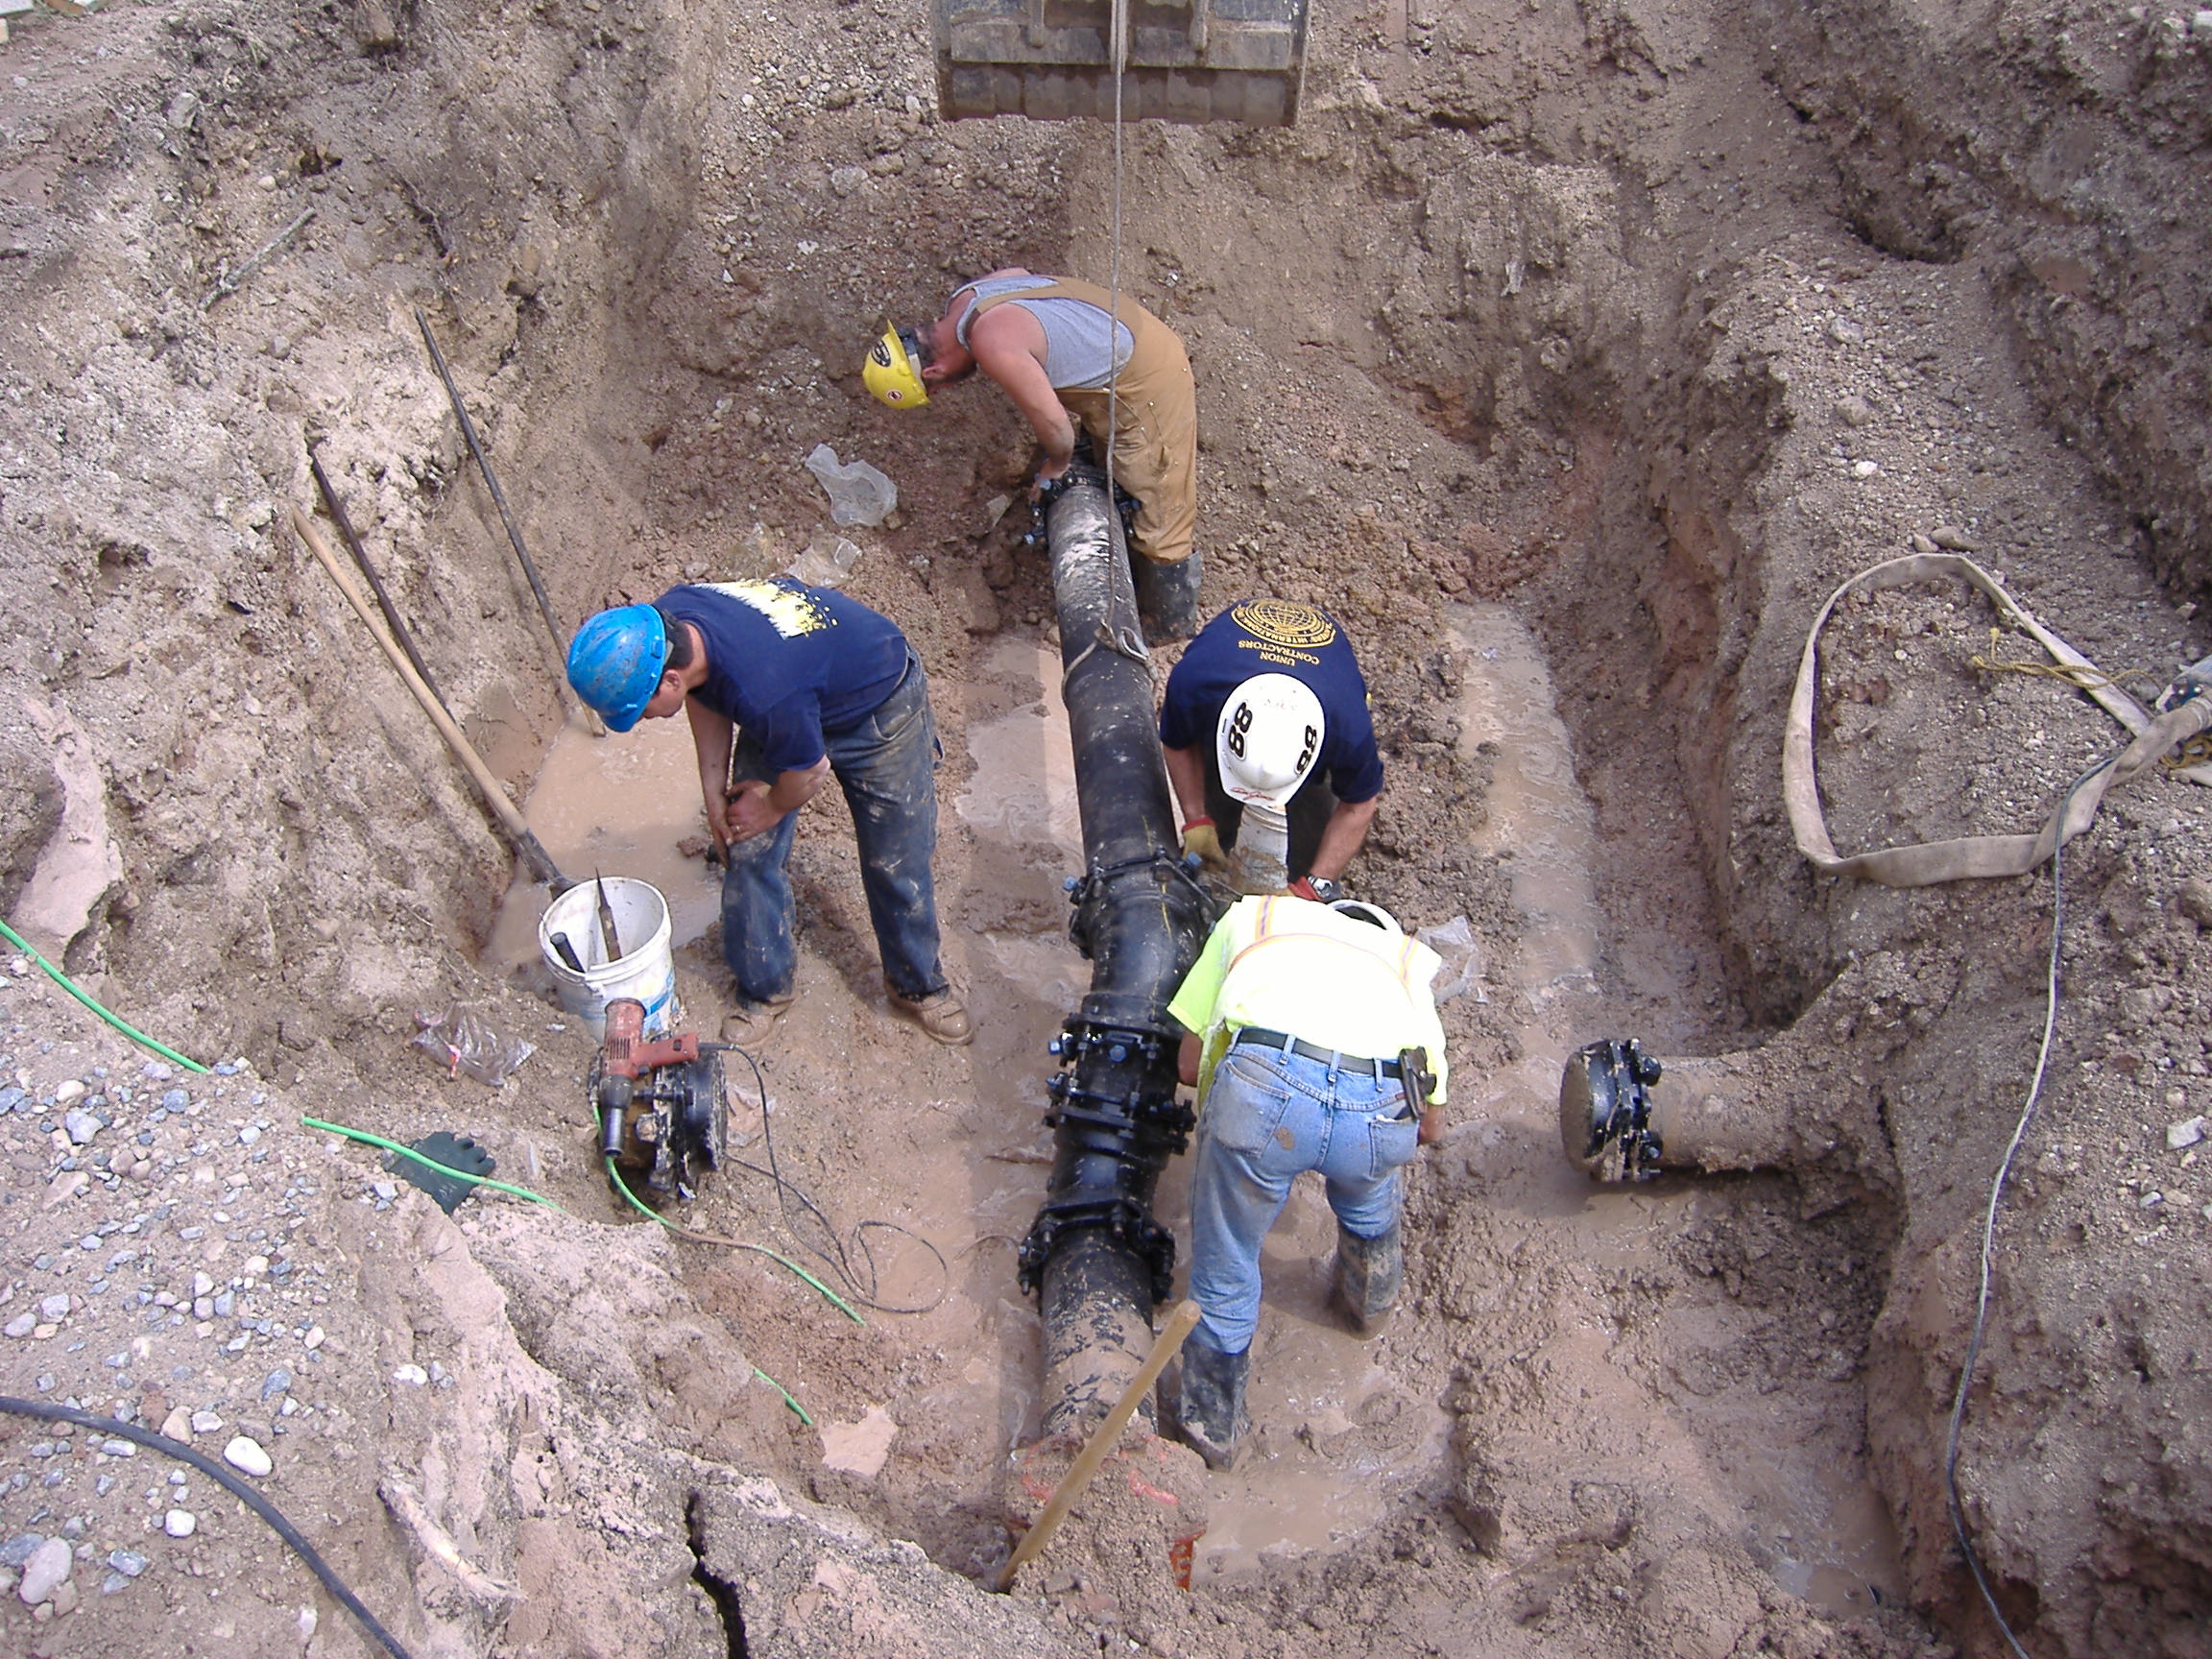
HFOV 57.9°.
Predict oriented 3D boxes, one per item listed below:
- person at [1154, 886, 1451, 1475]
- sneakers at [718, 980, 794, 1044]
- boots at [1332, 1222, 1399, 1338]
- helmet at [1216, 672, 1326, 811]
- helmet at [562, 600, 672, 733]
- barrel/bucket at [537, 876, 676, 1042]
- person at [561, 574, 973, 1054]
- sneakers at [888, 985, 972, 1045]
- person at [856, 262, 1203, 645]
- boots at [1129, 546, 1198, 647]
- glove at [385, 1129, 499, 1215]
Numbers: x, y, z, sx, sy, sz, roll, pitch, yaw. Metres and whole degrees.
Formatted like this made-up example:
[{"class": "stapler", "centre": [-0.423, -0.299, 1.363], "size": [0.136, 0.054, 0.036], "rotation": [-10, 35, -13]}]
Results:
[{"class": "person", "centre": [0.668, 1.061, 6.146], "size": [0.910, 1.762, 0.659], "rotation": [3, 26, -11]}, {"class": "sneakers", "centre": [-1.213, 0.625, 6.973], "size": [0.121, 0.111, 0.256], "rotation": [28, 39, 16]}, {"class": "boots", "centre": [0.822, 1.421, 6.272], "size": [0.172, 0.321, 0.233], "rotation": [-21, 50, -20]}, {"class": "helmet", "centre": [0.518, -0.295, 6.318], "size": [0.334, 0.218, 0.414], "rotation": [23, 77, 3]}, {"class": "helmet", "centre": [-1.440, -0.469, 5.996], "size": [0.273, 0.187, 0.377], "rotation": [23, 90, 5]}, {"class": "barrel/bucket", "centre": [-1.629, 0.392, 6.523], "size": [0.437, 0.474, 0.503], "rotation": [-15, 58, -6]}, {"class": "person", "centre": [-1.088, -0.066, 6.580], "size": [1.107, 1.993, 0.861], "rotation": [-31, 48, -25]}, {"class": "sneakers", "centre": [-0.633, 0.650, 7.109], "size": [0.298, 0.132, 0.137], "rotation": [32, 46, 19]}, {"class": "person", "centre": [-0.231, -1.557, 8.195], "size": [1.228, 1.773, 0.874], "rotation": [-14, 50, -1]}, {"class": "boots", "centre": [0.246, -0.962, 8.233], "size": [0.186, 0.401, 0.443], "rotation": [-2, 97, 15]}, {"class": "glove", "centre": [-1.925, 0.965, 5.803], "size": [0.295, 0.203, 0.186], "rotation": [32, 78, 6]}]
